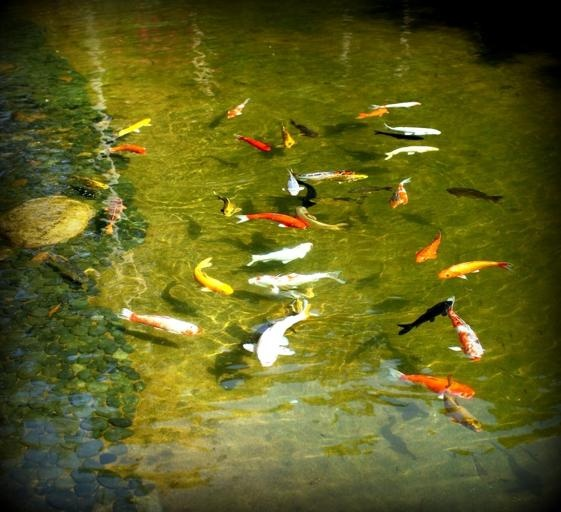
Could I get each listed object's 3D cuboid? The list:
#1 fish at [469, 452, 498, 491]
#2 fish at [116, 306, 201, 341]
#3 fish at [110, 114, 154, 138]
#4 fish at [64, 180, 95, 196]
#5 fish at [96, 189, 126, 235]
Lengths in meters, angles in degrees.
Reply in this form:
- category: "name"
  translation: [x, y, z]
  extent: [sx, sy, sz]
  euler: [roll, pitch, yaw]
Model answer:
- category: "fish"
  translation: [2.456, 2.647, 7.597]
  extent: [0.158, 0.070, 0.355]
  euler: [-21, 57, -8]
- category: "fish"
  translation: [-1.772, 1.000, 8.977]
  extent: [1.328, 0.353, 0.183]
  euler: [7, 57, 14]
- category: "fish"
  translation: [-3.073, -2.718, 12.920]
  extent: [0.915, 0.293, 0.328]
  euler: [-21, 51, -25]
- category: "fish"
  translation: [-3.698, -1.250, 11.513]
  extent: [0.795, 0.151, 0.348]
  euler: [18, 28, 38]
- category: "fish"
  translation: [-2.892, -0.814, 11.009]
  extent: [0.450, 0.392, 0.739]
  euler: [10, 50, -4]
